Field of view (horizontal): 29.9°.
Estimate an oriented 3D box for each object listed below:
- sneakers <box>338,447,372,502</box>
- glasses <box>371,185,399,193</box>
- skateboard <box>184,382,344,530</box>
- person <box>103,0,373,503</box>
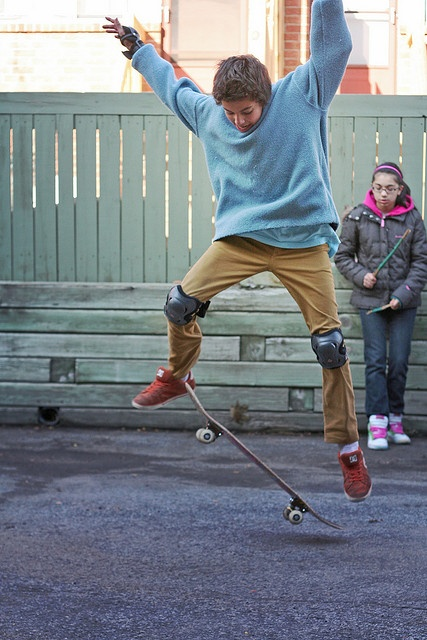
[{"bbox_3d":[0.600,0.671,3.500,0.101,0.110,0.280,-18,28,8],"label":"sneakers"},{"bbox_3d":[1.128,-0.868,5.264,0.157,0.061,0.062,2,4,18],"label":"glasses"},{"bbox_3d":[0.297,0.773,4.526,0.143,0.789,0.162,-43,-4,-14],"label":"skateboard"},{"bbox_3d":[0.175,-0.248,3.446,1.030,2.056,0.663,2,5,15],"label":"person"}]
